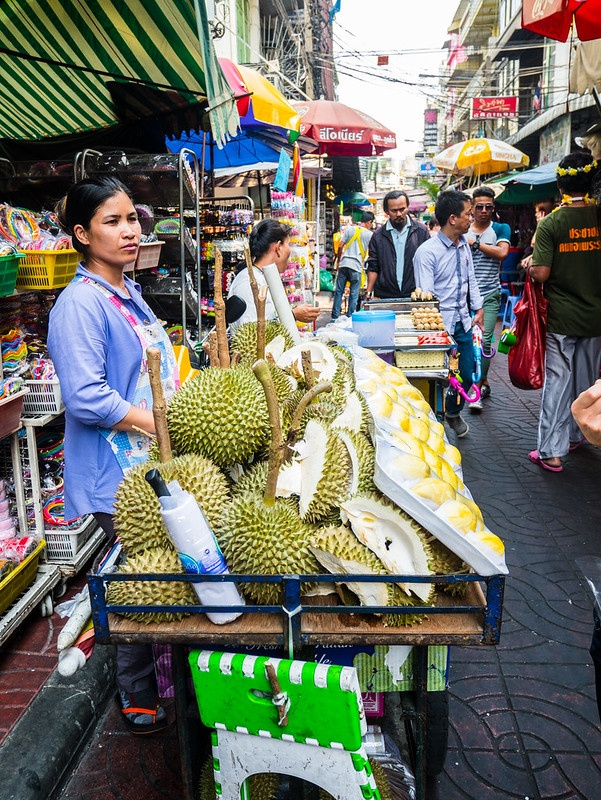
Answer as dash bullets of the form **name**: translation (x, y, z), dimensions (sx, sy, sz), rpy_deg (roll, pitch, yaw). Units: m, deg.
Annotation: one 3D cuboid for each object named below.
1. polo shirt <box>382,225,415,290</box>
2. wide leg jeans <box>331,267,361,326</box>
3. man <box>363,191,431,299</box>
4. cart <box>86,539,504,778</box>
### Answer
- **polo shirt**: translation (1.032, -1.610, 6.431), dimensions (0.284, 0.528, 0.130), rpy_deg (5, 13, 8)
- **wide leg jeans**: translation (0.722, -1.747, 9.759), dimensions (0.412, 0.928, 0.267), rpy_deg (17, 22, 13)
- **man**: translation (1.034, -1.287, 6.477), dimensions (0.734, 1.851, 0.611), rpy_deg (1, 19, 10)
- **cart**: translation (0.042, 0.615, 1.232), dimensions (0.744, 0.518, 0.404), rpy_deg (-1, -5, 3)
